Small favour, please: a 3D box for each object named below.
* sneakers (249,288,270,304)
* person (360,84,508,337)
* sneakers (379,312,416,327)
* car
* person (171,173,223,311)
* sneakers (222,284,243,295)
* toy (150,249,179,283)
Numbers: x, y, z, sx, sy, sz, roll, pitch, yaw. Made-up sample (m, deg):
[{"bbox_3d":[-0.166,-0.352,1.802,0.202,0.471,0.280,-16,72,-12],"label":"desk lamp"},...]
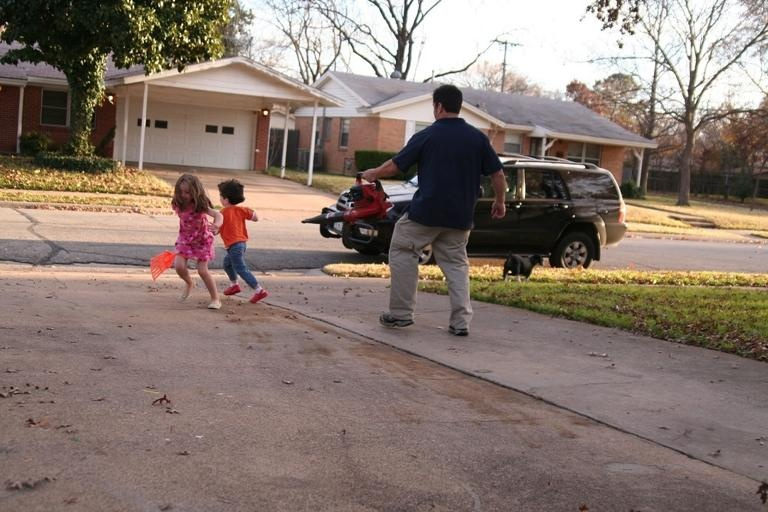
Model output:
[{"bbox_3d":[-1.601,0.518,8.515,0.324,0.138,0.121,-34,-28,30],"label":"sneakers"},{"bbox_3d":[0.580,-0.501,7.118,1.380,2.670,0.699,1,7,-35],"label":"person"},{"bbox_3d":[0.151,0.709,7.362,0.413,0.163,0.140,13,2,9],"label":"sneakers"},{"bbox_3d":[1.999,-0.824,13.617,5.931,1.866,2.566,2,5,-13],"label":"car"},{"bbox_3d":[-2.295,-0.216,8.132,0.637,1.557,1.089,3,6,-17],"label":"person"},{"bbox_3d":[-2.046,0.451,8.816,0.353,0.143,0.132,-1,-4,44],"label":"sneakers"},{"bbox_3d":[-2.827,0.089,8.738,0.522,0.560,0.189,-1,0,23],"label":"toy"}]
